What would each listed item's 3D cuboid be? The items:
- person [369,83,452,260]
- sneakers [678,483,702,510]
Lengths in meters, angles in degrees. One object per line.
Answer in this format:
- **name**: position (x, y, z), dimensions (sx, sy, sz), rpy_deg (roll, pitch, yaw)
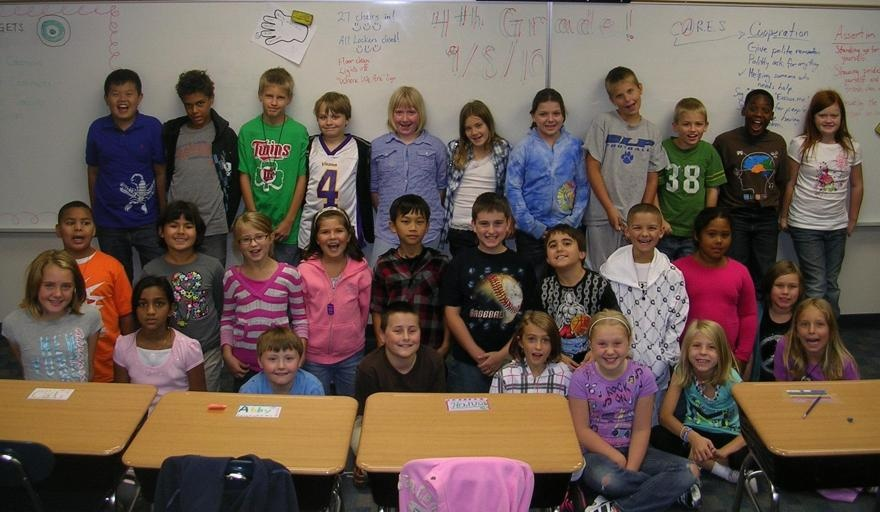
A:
- **person**: position (-0.247, -0.353, 5.271), dimensions (0.674, 1.749, 0.443), rpy_deg (1, 12, -3)
- **sneakers**: position (1.493, 1.449, 4.059), dimensions (0.084, 0.091, 0.226), rpy_deg (6, 22, 22)
